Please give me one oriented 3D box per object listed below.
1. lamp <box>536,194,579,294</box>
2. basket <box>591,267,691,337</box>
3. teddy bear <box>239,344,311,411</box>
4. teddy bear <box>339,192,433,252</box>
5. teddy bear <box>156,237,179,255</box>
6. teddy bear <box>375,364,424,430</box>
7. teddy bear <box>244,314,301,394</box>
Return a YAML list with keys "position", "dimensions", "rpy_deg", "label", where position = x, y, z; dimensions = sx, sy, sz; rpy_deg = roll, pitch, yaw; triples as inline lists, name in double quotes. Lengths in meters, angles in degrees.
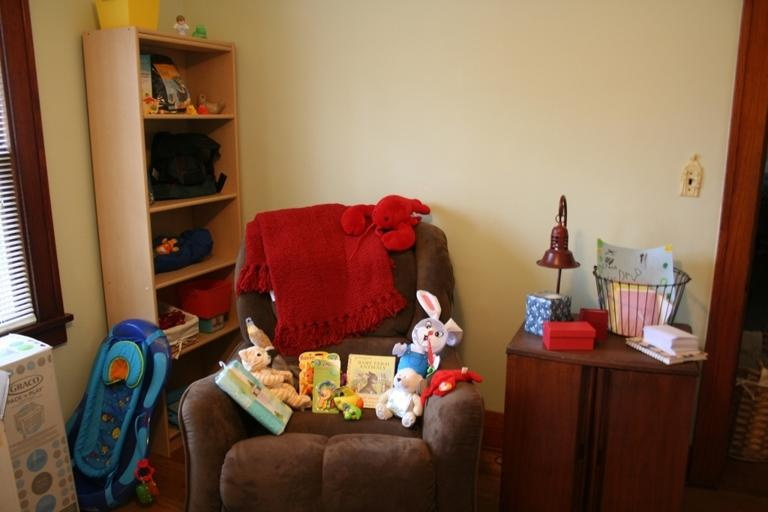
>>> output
- position: [0.917, -0.043, 2.981]
  dimensions: [0.203, 0.570, 0.421]
  rpy_deg: [6, 16, 19]
  label: "lamp"
- position: [1.295, 0.210, 2.887]
  dimensions: [0.468, 0.315, 0.455]
  rpy_deg: [6, 16, 38]
  label: "basket"
- position: [-0.521, 0.590, 2.848]
  dimensions: [0.346, 0.314, 0.190]
  rpy_deg: [-7, 3, 17]
  label: "teddy bear"
- position: [-0.014, -0.182, 3.090]
  dimensions: [0.342, 0.131, 0.330]
  rpy_deg: [9, 39, 10]
  label: "teddy bear"
- position: [-1.277, -0.062, 3.364]
  dimensions: [0.080, 0.050, 0.114]
  rpy_deg: [2, 13, -7]
  label: "teddy bear"
- position: [0.086, 0.668, 2.752]
  dimensions: [0.229, 0.249, 0.193]
  rpy_deg: [9, 9, 30]
  label: "teddy bear"
- position: [-0.558, 0.504, 2.873]
  dimensions: [0.229, 0.211, 0.361]
  rpy_deg: [-17, 68, -36]
  label: "teddy bear"
